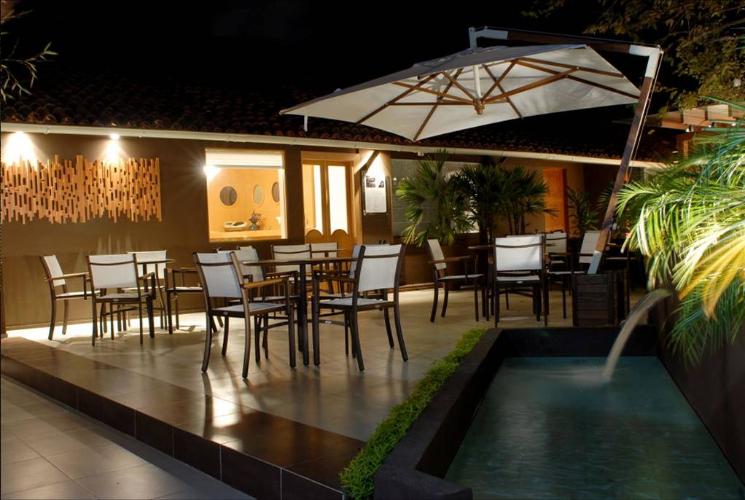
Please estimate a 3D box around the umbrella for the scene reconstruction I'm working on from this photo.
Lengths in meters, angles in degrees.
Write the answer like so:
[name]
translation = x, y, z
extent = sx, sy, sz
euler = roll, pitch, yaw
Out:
[umbrella]
translation = 1.423, -1.496, 6.436
extent = 3.683, 1.851, 2.668
euler = -3, 1, 0
